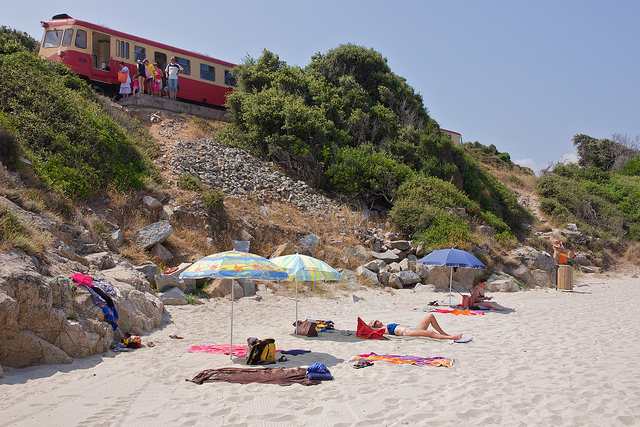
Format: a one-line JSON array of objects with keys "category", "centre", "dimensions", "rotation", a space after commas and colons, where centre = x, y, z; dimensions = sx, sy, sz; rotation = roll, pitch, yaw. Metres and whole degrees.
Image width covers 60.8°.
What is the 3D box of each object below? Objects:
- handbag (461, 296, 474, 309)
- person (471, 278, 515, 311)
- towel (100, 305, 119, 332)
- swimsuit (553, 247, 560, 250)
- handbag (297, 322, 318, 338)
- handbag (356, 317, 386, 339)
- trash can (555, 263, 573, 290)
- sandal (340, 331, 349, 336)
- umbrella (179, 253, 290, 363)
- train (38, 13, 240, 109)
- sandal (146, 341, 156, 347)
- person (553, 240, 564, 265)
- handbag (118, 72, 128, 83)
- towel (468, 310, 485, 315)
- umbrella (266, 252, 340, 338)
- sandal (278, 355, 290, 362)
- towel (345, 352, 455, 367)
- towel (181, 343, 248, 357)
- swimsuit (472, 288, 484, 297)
[{"category": "handbag", "centre": [5.939, 3.494, 21.772], "dimensions": [0.523, 0.405, 0.427], "rotation": [-7, 16, -26]}, {"category": "person", "centre": [6.816, 3.279, 21.805], "dimensions": [1.403, 0.870, 1.119], "rotation": [11, 18, 35]}, {"category": "towel", "centre": [-6.572, 3.271, 17.258], "dimensions": [0.473, 0.847, 0.299], "rotation": [-7, 16, -28]}, {"category": "swimsuit", "centre": [12.244, 1.755, 28.202], "dimensions": [0.359, 0.146, 0.411], "rotation": [1, 2, 12]}, {"category": "handbag", "centre": [-0.363, 4.044, 18.569], "dimensions": [0.682, 0.551, 0.413], "rotation": [-6, -31, 27]}, {"category": "handbag", "centre": [1.726, 3.886, 18.453], "dimensions": [0.729, 0.303, 0.607], "rotation": [13, 0, 5]}, {"category": "trash can", "centre": [11.886, 3.050, 26.506], "dimensions": [0.716, 1.216, 0.538], "rotation": [9, 16, 31]}, {"category": "sandal", "centre": [0.887, 4.096, 18.782], "dimensions": [0.100, 0.135, 0.289], "rotation": [2, -5, -38]}, {"category": "umbrella", "centre": [-2.803, 2.885, 17.825], "dimensions": [3.042, 3.631, 3.322], "rotation": [2, 0, -3]}, {"category": "train", "centre": [-10.937, -9.394, 34.833], "dimensions": [12.057, 5.599, 2.704], "rotation": [-13, 19, -42]}, {"category": "sandal", "centre": [-5.283, 4.098, 17.278], "dimensions": [0.256, 0.078, 0.345], "rotation": [-11, 19, -36]}, {"category": "person", "centre": [12.253, 1.943, 28.112], "dimensions": [0.358, 1.219, 2.270], "rotation": [6, 16, 25]}, {"category": "handbag", "centre": [-11.575, -8.049, 32.289], "dimensions": [0.412, 0.583, 0.565], "rotation": [18, 25, 9]}, {"category": "towel", "centre": [6.040, 3.804, 21.108], "dimensions": [0.666, 0.102, 0.489], "rotation": [1, 15, 0]}, {"category": "umbrella", "centre": [-0.510, 2.579, 18.261], "dimensions": [2.144, 2.490, 2.284], "rotation": [1, -1, 21]}, {"category": "sandal", "centre": [-1.047, 4.378, 16.567], "dimensions": [0.289, 0.099, 0.224], "rotation": [-2, 15, -8]}, {"category": "towel", "centre": [2.584, 4.366, 16.607], "dimensions": [3.031, 0.235, 0.806], "rotation": [1, 15, 3]}, {"category": "towel", "centre": [-3.140, 4.229, 17.160], "dimensions": [1.893, 0.107, 0.831], "rotation": [2, 15, 3]}, {"category": "swimsuit", "centre": [6.409, 3.163, 22.068], "dimensions": [0.331, 0.368, 0.346], "rotation": [-2, -8, 4]}]
